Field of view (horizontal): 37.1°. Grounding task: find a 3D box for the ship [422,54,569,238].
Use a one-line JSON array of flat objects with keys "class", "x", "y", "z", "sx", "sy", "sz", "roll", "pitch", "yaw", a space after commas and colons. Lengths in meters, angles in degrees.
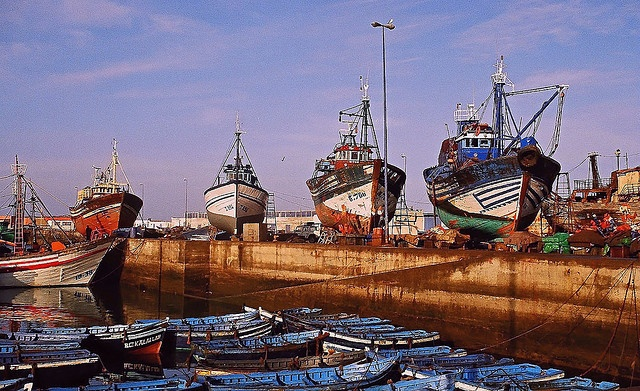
[{"class": "ship", "x": 11.962, "y": -1.247, "z": 64.920, "sx": 8.266, "sy": 13.196, "sz": 32.102, "roll": 1, "pitch": 1, "yaw": 11}]
